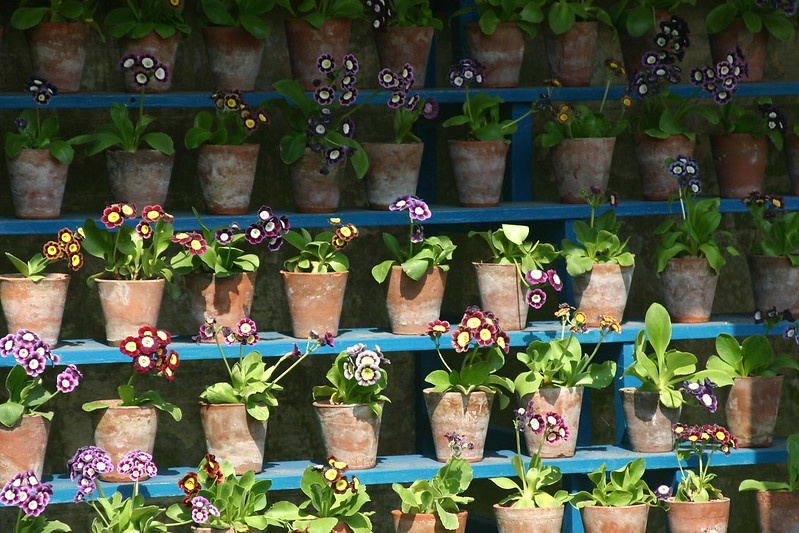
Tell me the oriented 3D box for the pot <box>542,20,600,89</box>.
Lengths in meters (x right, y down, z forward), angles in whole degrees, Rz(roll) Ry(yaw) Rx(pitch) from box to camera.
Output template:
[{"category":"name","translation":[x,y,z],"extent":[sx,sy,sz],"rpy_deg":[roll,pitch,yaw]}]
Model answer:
[{"category":"pot","translation":[0.771,-0.956,5.177],"extent":[0.267,0.266,0.285],"rpy_deg":[-1,97,-13]}]

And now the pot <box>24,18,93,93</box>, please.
[{"category":"pot","translation":[-1.418,-0.879,4.850],"extent":[0.283,0.270,0.303],"rpy_deg":[-1,93,-22]}]

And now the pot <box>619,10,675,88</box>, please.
[{"category":"pot","translation":[1.094,-1.013,5.279],"extent":[0.280,0.293,0.374],"rpy_deg":[5,99,22]}]

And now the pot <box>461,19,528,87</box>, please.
[{"category":"pot","translation":[0.417,-0.942,5.120],"extent":[0.257,0.271,0.244],"rpy_deg":[0,89,-8]}]

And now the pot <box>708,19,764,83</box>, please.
[{"category":"pot","translation":[1.576,-0.990,5.323],"extent":[0.258,0.264,0.293],"rpy_deg":[-1,92,-2]}]

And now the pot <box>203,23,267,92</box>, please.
[{"category":"pot","translation":[-0.710,-0.875,4.956],"extent":[0.268,0.276,0.271],"rpy_deg":[0,90,-26]}]
